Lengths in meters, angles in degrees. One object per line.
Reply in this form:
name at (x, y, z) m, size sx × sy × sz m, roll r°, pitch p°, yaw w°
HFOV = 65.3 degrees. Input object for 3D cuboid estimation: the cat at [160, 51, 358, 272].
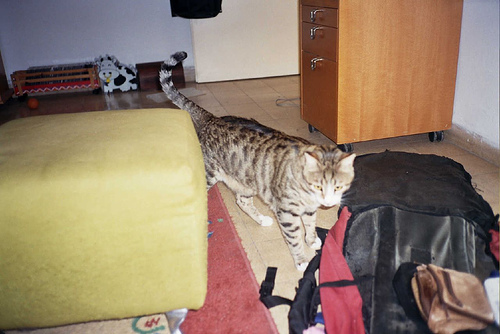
cat at (0.023, -0.010, 2.415) m, size 0.303 × 0.919 × 1.446 m, roll -30°, pitch 39°, yaw -33°

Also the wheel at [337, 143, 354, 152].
wheel at (0.743, -0.154, 3.090) m, size 0.111 × 0.072 × 0.155 m, roll -3°, pitch 13°, yaw -15°

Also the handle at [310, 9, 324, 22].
handle at (0.492, -1.135, 2.912) m, size 0.096 × 0.086 × 0.057 m, roll 0°, pitch 36°, yaw -4°

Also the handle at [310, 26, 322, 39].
handle at (0.493, -1.015, 2.963) m, size 0.088 × 0.082 × 0.051 m, roll 1°, pitch 21°, yaw -1°

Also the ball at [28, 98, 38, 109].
ball at (-2.452, -0.715, 4.452) m, size 0.105 × 0.122 × 0.105 m, roll 2°, pitch 13°, yaw -1°

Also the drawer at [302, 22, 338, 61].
drawer at (0.531, -0.950, 2.932) m, size 0.267 × 0.163 × 0.375 m, roll 0°, pitch 30°, yaw -13°

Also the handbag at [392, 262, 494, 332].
handbag at (0.806, 0.516, 1.624) m, size 0.287 × 0.104 × 0.293 m, roll -6°, pitch 51°, yaw 13°
